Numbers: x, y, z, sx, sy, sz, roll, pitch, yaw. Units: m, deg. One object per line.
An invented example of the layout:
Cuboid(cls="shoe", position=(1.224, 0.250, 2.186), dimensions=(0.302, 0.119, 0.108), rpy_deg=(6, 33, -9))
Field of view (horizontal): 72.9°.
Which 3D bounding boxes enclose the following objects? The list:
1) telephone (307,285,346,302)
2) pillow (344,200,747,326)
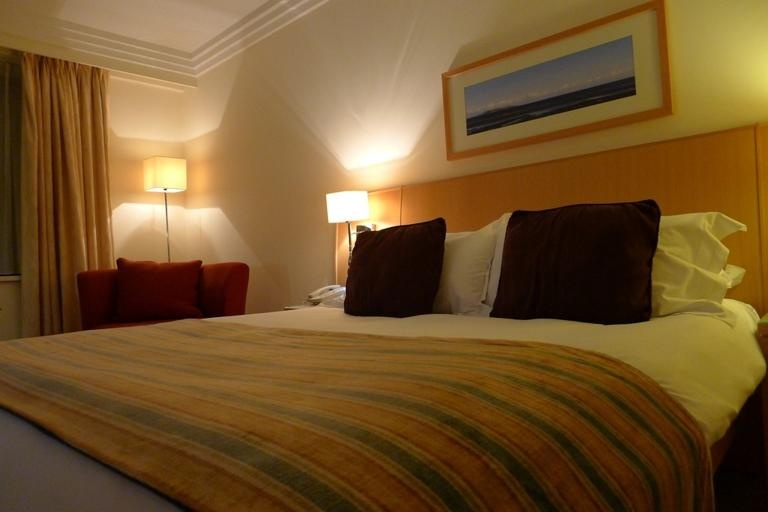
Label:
Cuboid(cls="telephone", position=(-0.377, 0.255, 3.491), dimensions=(0.196, 0.082, 0.143), rpy_deg=(-2, -7, -34))
Cuboid(cls="pillow", position=(0.724, 0.024, 2.566), dimensions=(1.744, 0.556, 0.672), rpy_deg=(2, 8, 33))
